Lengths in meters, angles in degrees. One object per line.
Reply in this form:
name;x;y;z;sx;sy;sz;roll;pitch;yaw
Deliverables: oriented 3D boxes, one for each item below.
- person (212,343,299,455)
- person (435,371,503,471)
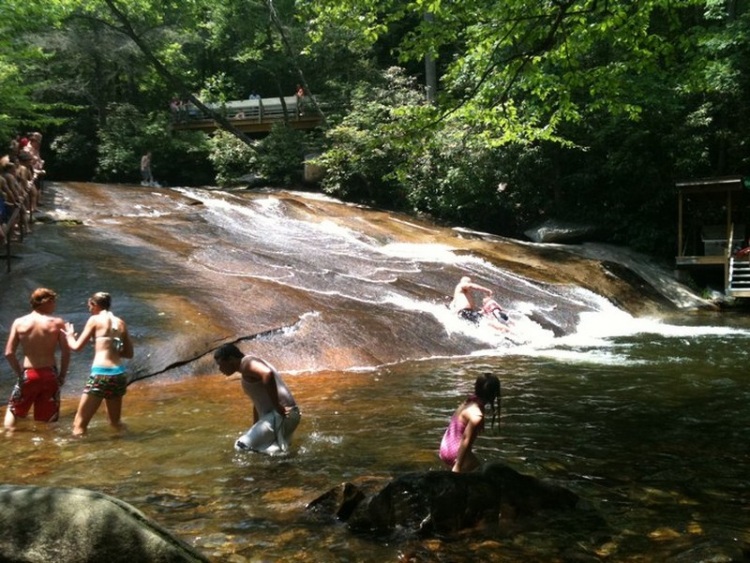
person;-1.473;1.479;8.849;0.956;1.447;0.355;0;14;-1
person;1.098;1.661;8.023;0.670;1.243;0.626;1;13;7
